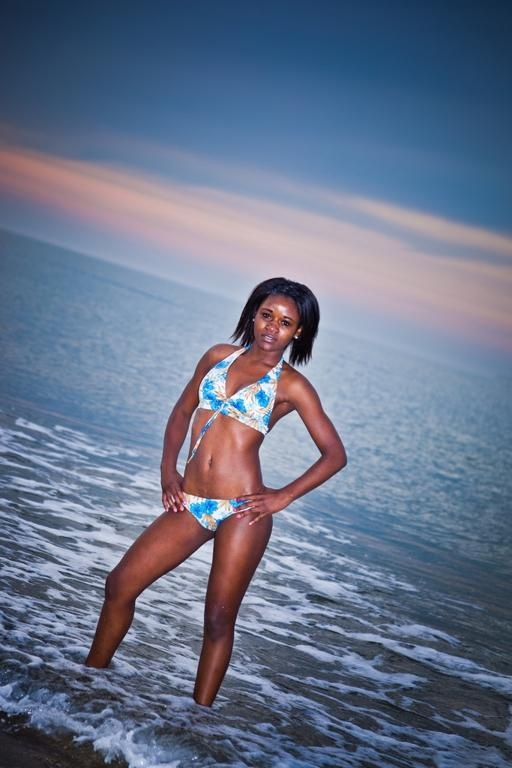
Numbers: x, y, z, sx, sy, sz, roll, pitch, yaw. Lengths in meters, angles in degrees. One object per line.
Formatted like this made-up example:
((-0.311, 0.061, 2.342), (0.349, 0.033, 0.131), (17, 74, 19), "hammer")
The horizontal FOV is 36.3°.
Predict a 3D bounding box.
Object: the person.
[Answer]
((-0.115, 0.409, 3.083), (0.735, 1.741, 0.532), (25, 3, 13), "person")
